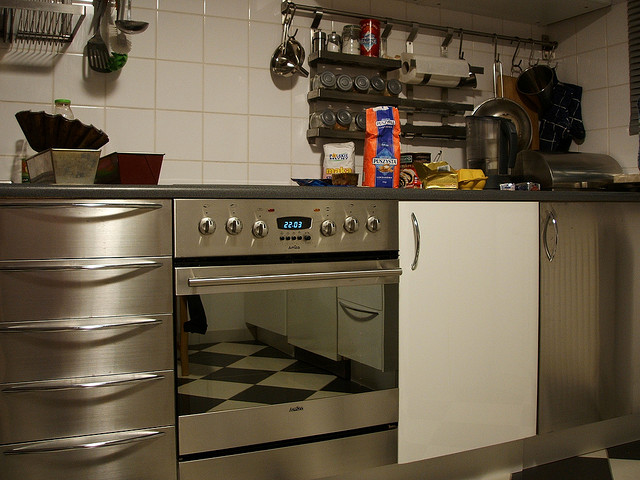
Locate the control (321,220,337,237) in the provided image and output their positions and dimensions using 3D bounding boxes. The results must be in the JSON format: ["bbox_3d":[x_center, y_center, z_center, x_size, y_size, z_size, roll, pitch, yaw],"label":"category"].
[{"bbox_3d":[0.032,-0.041,2.068,0.061,0.063,0.031,-1,6,-8],"label":"control"}]

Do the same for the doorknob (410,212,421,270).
[{"bbox_3d":[0.364,0.003,2.168,0.037,0.211,0.020,-2,6,-19],"label":"doorknob"}]

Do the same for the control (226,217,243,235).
[{"bbox_3d":[-0.292,-0.049,1.940,0.053,0.056,0.013,16,-7,-25],"label":"control"}]

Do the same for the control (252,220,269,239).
[{"bbox_3d":[-0.209,-0.040,1.984,0.052,0.056,0.012,2,-2,-34],"label":"control"}]

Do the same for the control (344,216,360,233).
[{"bbox_3d":[0.115,-0.058,2.101,0.056,0.061,0.024,0,5,-2],"label":"control"}]

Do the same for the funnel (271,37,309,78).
[{"bbox_3d":[-0.152,-0.911,2.785,0.174,0.183,0.054,-1,5,-7],"label":"funnel"}]

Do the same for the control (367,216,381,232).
[{"bbox_3d":[0.203,-0.060,2.127,0.055,0.059,0.016,-3,6,-24],"label":"control"}]

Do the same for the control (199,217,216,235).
[{"bbox_3d":[-0.391,-0.048,1.943,0.056,0.058,0.022,-2,6,-17],"label":"control"}]

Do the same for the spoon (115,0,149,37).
[{"bbox_3d":[-0.756,-0.874,2.223,0.138,0.112,0.118,6,8,44],"label":"spoon"}]

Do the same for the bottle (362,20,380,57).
[{"bbox_3d":[0.265,-1.039,2.900,0.103,0.187,0.037,-4,7,-37],"label":"bottle"}]

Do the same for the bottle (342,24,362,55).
[{"bbox_3d":[0.145,-1.004,2.877,0.065,0.111,0.071,2,5,0],"label":"bottle"}]

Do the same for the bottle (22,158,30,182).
[{"bbox_3d":[-1.171,-0.276,2.225,0.019,0.095,0.246,-3,7,-28],"label":"bottle"}]

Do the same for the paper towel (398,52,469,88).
[{"bbox_3d":[0.607,-0.910,3.021,0.397,0.155,0.154,-2,6,-18],"label":"paper towel"}]

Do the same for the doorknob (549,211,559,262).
[{"bbox_3d":[0.978,-0.016,2.362,0.048,0.208,0.020,-2,6,-21],"label":"doorknob"}]
